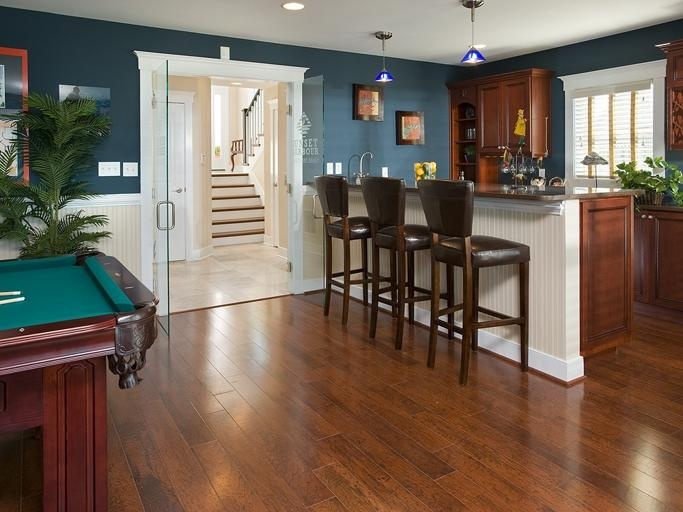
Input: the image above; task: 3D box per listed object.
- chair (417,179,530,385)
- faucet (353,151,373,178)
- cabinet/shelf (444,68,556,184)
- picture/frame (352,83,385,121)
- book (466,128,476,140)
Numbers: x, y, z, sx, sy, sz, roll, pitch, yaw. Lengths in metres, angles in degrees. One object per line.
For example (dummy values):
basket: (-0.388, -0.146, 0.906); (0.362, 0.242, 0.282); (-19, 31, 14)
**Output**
chair: (0.961, 0.117, 3.729); (0.736, 1.398, 0.724); (-6, 14, -19)
faucet: (0.284, -1.193, 6.399); (0.371, 0.300, 0.138); (-13, 17, -41)
cabinet/shelf: (2.091, -1.693, 6.717); (0.481, 1.422, 1.292); (-12, 17, -38)
picture/frame: (0.310, -1.963, 6.317); (0.542, 0.461, 0.054); (-2, 4, -37)
book: (1.798, -1.703, 6.959); (0.159, 0.164, 0.154); (-1, 6, -18)
